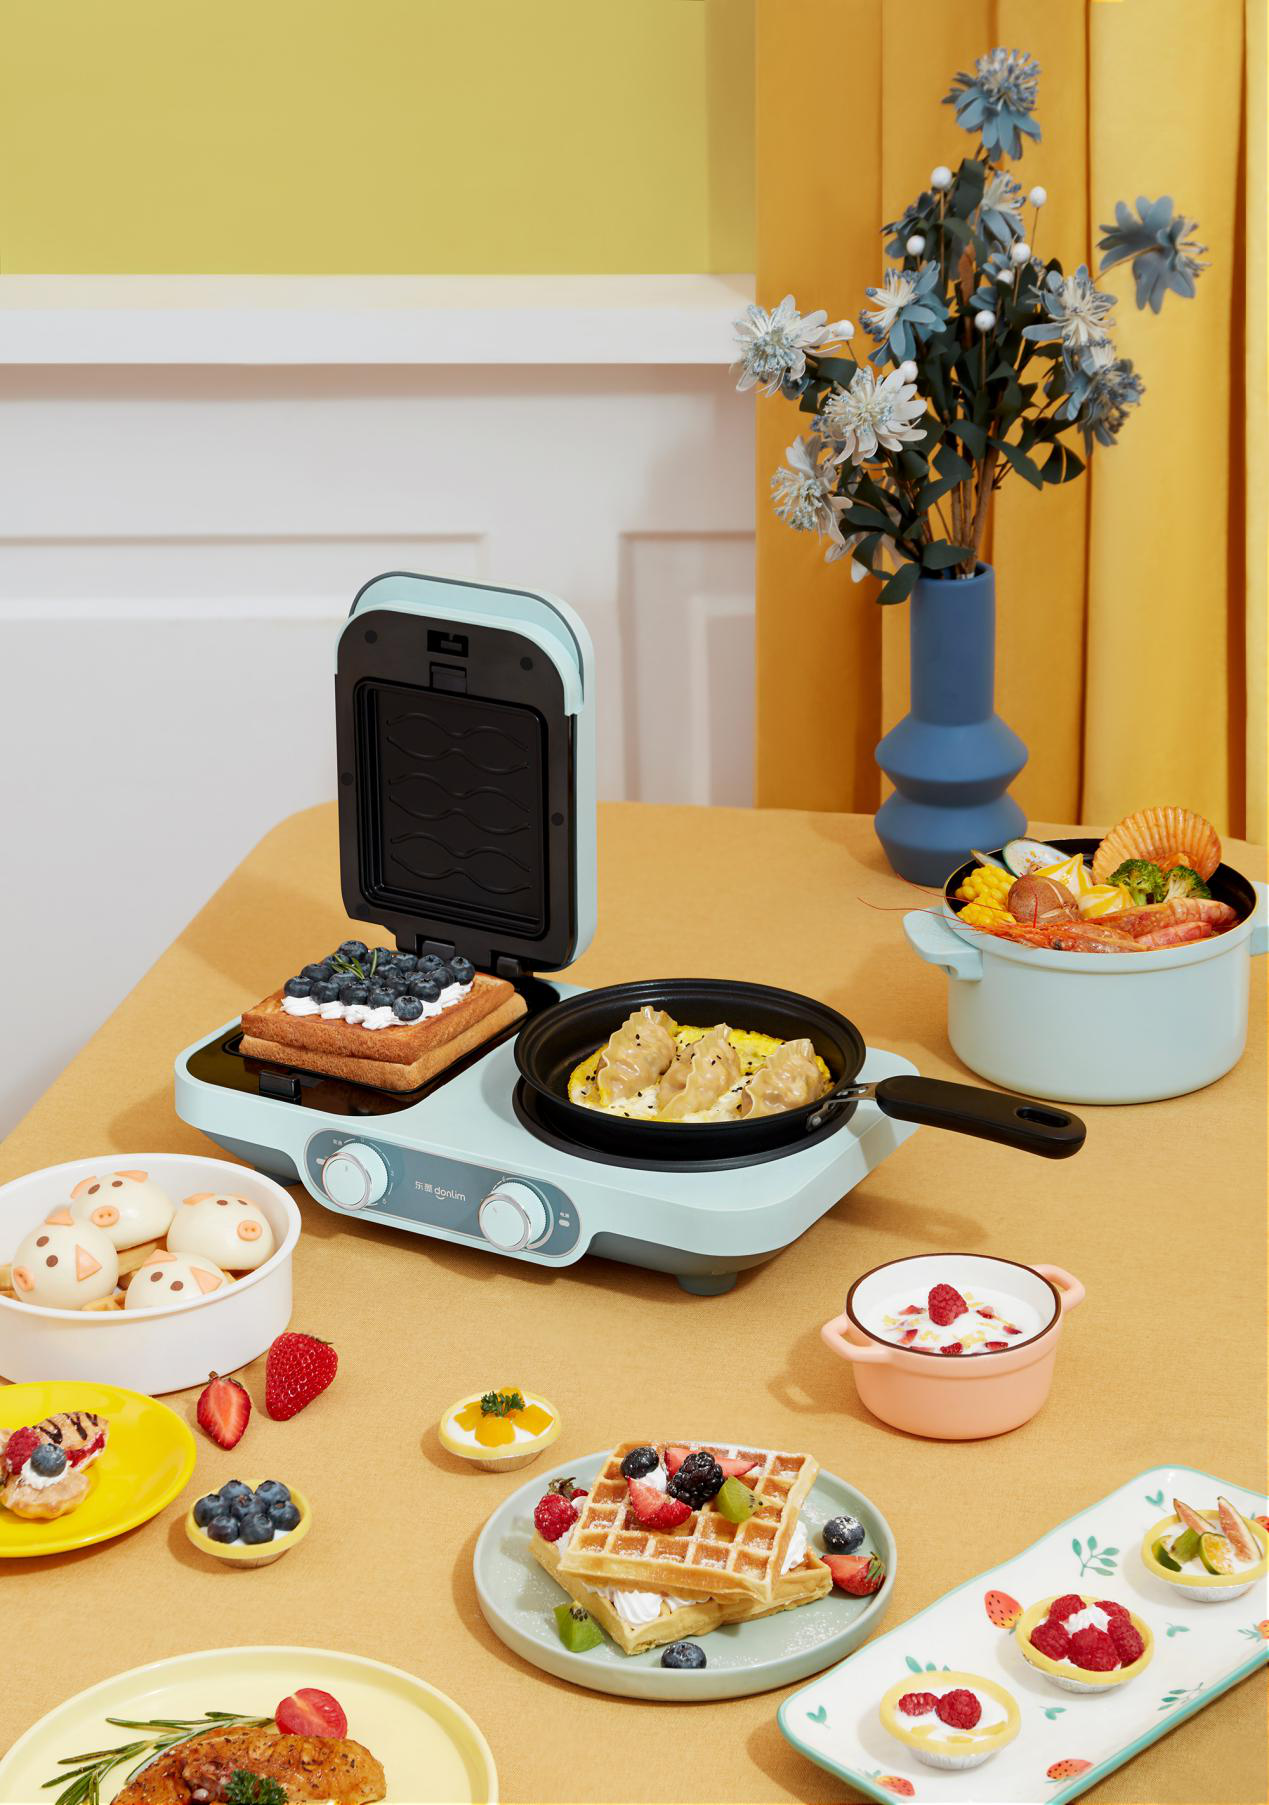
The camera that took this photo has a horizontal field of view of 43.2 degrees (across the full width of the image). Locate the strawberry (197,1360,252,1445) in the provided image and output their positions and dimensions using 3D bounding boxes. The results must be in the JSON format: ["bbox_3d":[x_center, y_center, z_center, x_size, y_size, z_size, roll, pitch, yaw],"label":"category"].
[{"bbox_3d":[-0.221,0.273,0.860,0.029,0.033,0.036,-8,14,-18],"label":"strawberry"}]

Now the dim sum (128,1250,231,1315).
[{"bbox_3d":[-0.259,0.209,0.899,0.036,0.022,0.041,17,17,24],"label":"dim sum"}]

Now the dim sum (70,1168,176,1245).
[{"bbox_3d":[-0.311,0.185,0.972,0.051,0.030,0.048,-3,3,4],"label":"dim sum"}]

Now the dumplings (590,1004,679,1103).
[{"bbox_3d":[-0.004,0.106,1.133,0.037,0.016,0.071,20,38,7],"label":"dumplings"}]

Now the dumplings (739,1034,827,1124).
[{"bbox_3d":[0.100,0.117,1.066,0.042,0.028,0.077,14,26,23],"label":"dumplings"}]

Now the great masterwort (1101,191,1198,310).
[{"bbox_3d":[0.528,-0.667,1.637,0.093,0.129,0.185,0,13,17],"label":"great masterwort"}]

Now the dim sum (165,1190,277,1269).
[{"bbox_3d":[-0.245,0.197,0.947,0.054,0.030,0.044,12,19,24],"label":"dim sum"}]

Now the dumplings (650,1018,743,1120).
[{"bbox_3d":[0.049,0.114,1.096,0.039,0.064,0.028,21,-15,44],"label":"dumplings"}]

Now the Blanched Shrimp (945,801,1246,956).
[{"bbox_3d":[0.384,-0.066,1.296,0.293,0.106,0.228,8,22,27],"label":"Blanched Shrimp"}]

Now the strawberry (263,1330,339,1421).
[{"bbox_3d":[-0.185,0.264,0.881,0.030,0.040,0.030,30,-6,19],"label":"strawberry"}]

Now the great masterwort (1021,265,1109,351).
[{"bbox_3d":[0.404,-0.554,1.499,0.081,0.078,0.099,0,13,15],"label":"great masterwort"}]
